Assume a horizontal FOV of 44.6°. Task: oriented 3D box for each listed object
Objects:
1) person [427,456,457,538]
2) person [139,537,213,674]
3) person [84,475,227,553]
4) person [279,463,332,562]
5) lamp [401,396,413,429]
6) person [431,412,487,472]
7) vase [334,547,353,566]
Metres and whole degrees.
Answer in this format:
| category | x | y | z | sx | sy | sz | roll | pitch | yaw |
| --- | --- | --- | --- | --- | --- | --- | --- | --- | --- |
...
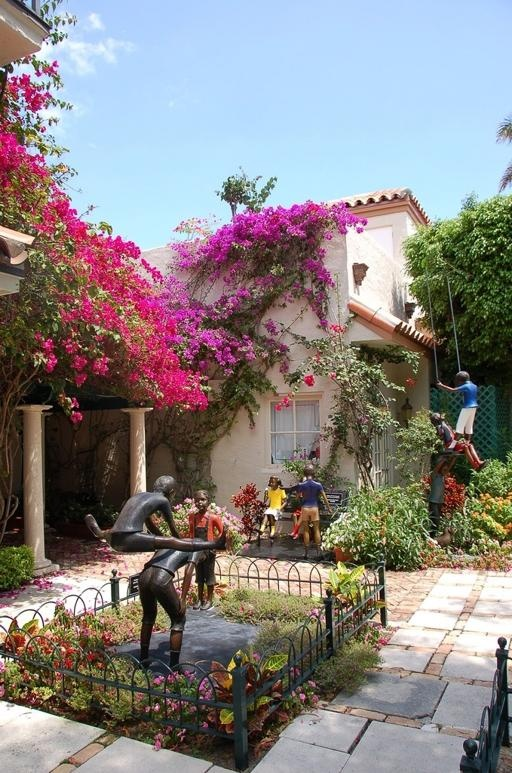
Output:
| category | x | y | z | sx | sy | sz | roll | pitch | yaw |
| --- | --- | --- | --- | --- | --- | --- | --- | --- | --- |
| person | 2.413 | 1.428 | 8.117 | 0.319 | 1.120 | 0.479 | 0 | -2 | 18 |
| person | -0.507 | 1.394 | 3.902 | 0.463 | 0.900 | 0.879 | 1 | -2 | -6 |
| person | -0.627 | 0.847 | 3.913 | 0.589 | 0.497 | 0.806 | 2 | -3 | -42 |
| person | 0.712 | 1.563 | 7.794 | 0.392 | 1.129 | 0.708 | 0 | -2 | 5 |
| lamp | 2.774 | 0.480 | 11.487 | 0.191 | 0.553 | 0.634 | 0 | -2 | 13 |
| person | 2.639 | 0.745 | 8.439 | 0.984 | 0.691 | 0.514 | 2 | -3 | -31 |
| vase | 0.973 | 1.950 | 7.141 | 0.135 | 0.218 | 0.366 | 1 | -2 | -15 |
